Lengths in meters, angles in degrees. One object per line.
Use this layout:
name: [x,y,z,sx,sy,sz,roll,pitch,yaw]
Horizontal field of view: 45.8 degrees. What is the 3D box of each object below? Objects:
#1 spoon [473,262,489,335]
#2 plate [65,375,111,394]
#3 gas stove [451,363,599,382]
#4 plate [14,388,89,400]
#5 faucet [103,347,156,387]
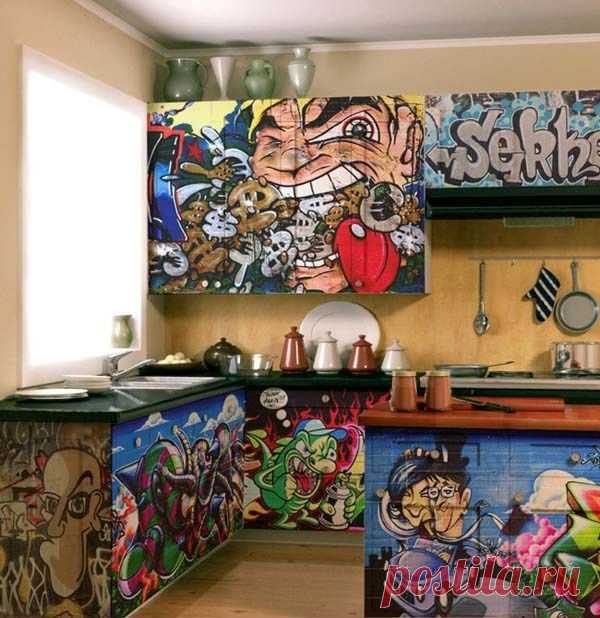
spoon: [1.126,-0.059,4.378,0.135,0.473,0.044,5,-3,-34]
plate: [-0.968,0.337,3.242,0.213,0.066,0.112,-1,-1,33]
gas stove: [1.275,0.347,4.064,0.859,0.077,0.619,-1,-1,7]
plate: [-1.083,0.360,3.069,0.299,0.031,0.459,0,-1,-20]
faucet: [-0.902,0.299,3.693,0.236,0.179,0.882,-1,-1,-15]
